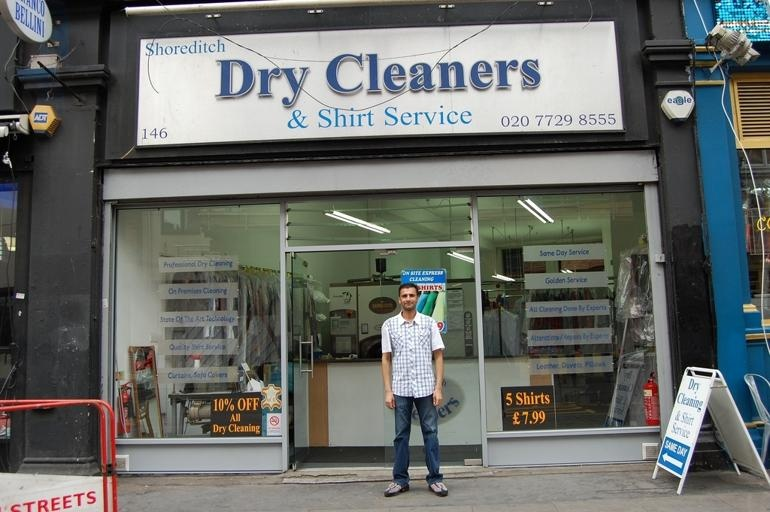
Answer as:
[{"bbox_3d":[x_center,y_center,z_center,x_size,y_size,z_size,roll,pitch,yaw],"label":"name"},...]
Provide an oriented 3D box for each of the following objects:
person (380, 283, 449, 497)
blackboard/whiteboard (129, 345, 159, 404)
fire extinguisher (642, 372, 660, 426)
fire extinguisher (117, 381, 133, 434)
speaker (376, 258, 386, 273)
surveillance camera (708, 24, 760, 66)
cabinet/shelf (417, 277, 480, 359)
[{"bbox_3d":[0.347,1.699,11.101,0.803,2.694,0.318,-2,-2,3],"label":"person"},{"bbox_3d":[-3.413,1.666,12.335,0.406,0.780,0.084,-2,-3,10],"label":"blackboard/whiteboard"},{"bbox_3d":[3.639,1.965,11.927,0.193,0.698,0.099,-3,-3,14],"label":"fire extinguisher"},{"bbox_3d":[-3.650,2.165,12.235,0.188,0.737,0.110,-1,-3,-16],"label":"fire extinguisher"},{"bbox_3d":[-0.054,0.123,12.329,0.184,0.268,0.152,3,7,25],"label":"speaker"},{"bbox_3d":[4.749,-2.897,11.922,0.658,0.536,0.366,-2,-2,9],"label":"surveillance camera"},{"bbox_3d":[1.023,0.891,12.402,0.645,1.064,0.538,0,0,10],"label":"cabinet/shelf"}]
